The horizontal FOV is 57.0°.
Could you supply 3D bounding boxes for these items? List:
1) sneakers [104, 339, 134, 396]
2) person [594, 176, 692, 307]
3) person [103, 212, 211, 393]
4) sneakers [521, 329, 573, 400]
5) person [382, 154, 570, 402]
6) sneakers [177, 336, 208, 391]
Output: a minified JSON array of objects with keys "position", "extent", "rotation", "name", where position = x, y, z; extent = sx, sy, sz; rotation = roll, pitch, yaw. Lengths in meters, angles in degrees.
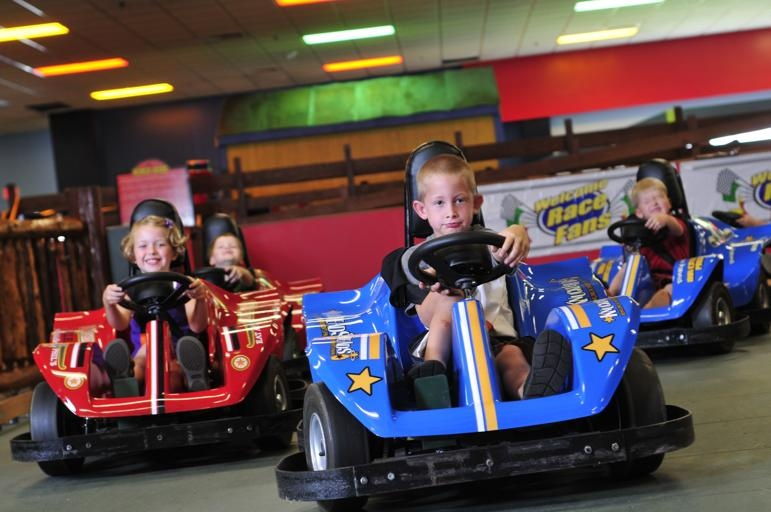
[{"position":[-1.310,0.556,3.532],"extent":[0.131,0.277,0.193],"rotation":[-10,7,-23],"name":"sneakers"},{"position":[1.781,-0.100,4.816],"extent":[0.484,0.849,0.682],"rotation":[-3,7,33],"name":"person"},{"position":[-1.272,0.182,3.938],"extent":[0.686,0.948,0.883],"rotation":[-8,-2,-9],"name":"person"},{"position":[0.617,0.407,2.705],"extent":[0.125,0.308,0.134],"rotation":[8,-9,0],"name":"sneakers"},{"position":[0.328,0.066,2.943],"extent":[0.657,0.995,0.788],"rotation":[-8,6,-1],"name":"person"},{"position":[-0.946,0.538,3.591],"extent":[0.119,0.301,0.109],"rotation":[-11,4,-5],"name":"sneakers"}]
